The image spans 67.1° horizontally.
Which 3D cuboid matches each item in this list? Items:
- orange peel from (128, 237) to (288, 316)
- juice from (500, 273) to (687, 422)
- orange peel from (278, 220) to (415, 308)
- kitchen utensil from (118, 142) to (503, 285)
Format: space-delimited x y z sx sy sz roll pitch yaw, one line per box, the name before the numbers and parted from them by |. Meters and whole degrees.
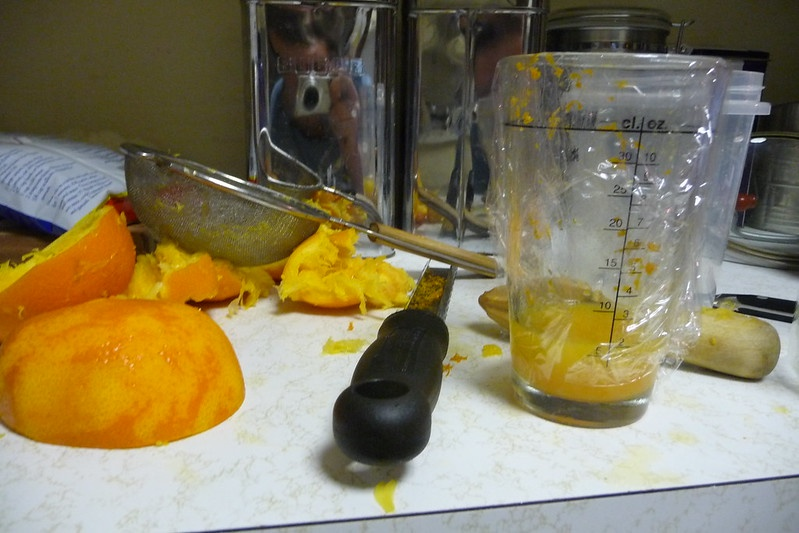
orange peel | -0.256 -0.006 0.775 0.114 0.041 0.112 11 11 7
juice | 0.185 0.057 0.591 0.144 0.102 0.128 9 12 42
orange peel | -0.067 0.009 0.794 0.132 0.061 0.135 26 32 16
kitchen utensil | -0.147 -0.048 0.800 0.347 0.059 0.235 18 5 -12
